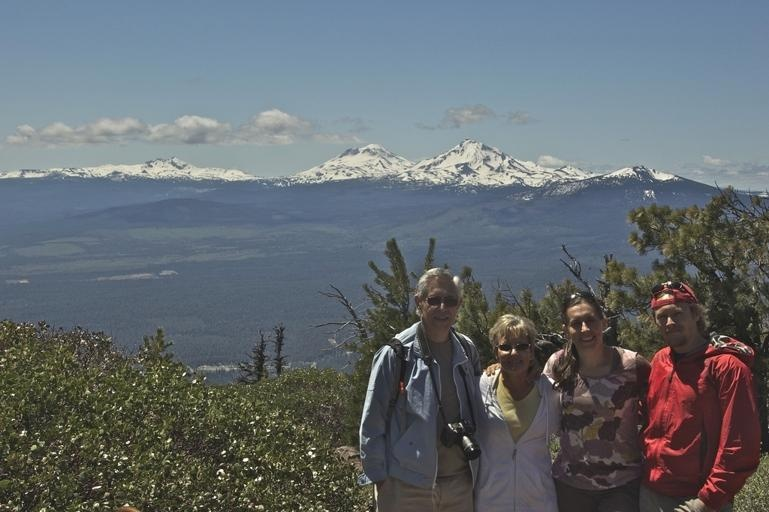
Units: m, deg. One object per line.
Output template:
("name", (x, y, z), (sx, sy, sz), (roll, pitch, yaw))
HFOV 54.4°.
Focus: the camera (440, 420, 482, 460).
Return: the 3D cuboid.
("camera", (0.965, 2.298, 9.416), (0.438, 0.279, 0.450), (6, 40, -40))
